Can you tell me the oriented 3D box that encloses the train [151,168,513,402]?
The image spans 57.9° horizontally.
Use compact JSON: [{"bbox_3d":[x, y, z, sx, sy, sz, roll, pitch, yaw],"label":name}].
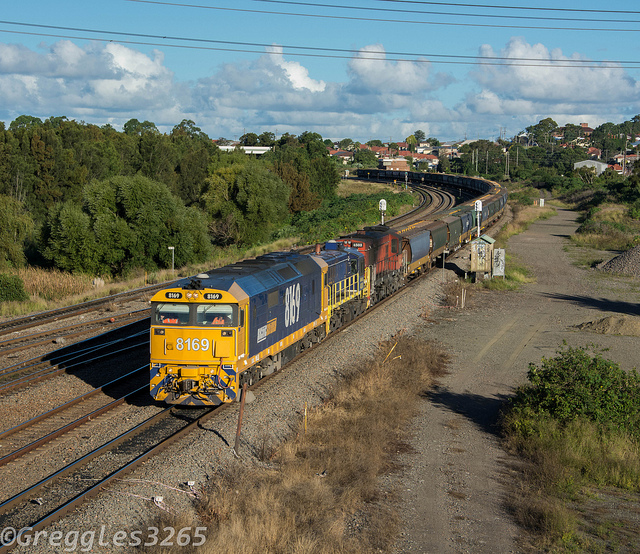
[{"bbox_3d":[5.802,-1.603,40.670,3.919,4.726,50.867,5,12,23],"label":"train"}]
